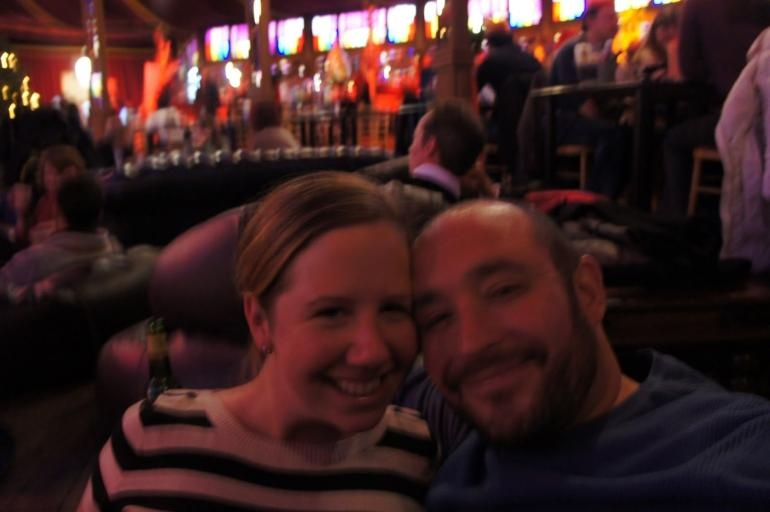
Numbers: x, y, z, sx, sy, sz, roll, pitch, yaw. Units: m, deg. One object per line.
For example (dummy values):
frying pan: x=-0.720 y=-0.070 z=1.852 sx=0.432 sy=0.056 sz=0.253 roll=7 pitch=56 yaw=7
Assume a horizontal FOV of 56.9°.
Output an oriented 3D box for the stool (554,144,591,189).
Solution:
stool: x=1.281 y=-0.609 z=4.918 sx=0.288 sy=0.363 sz=0.364 roll=-4 pitch=9 yaw=13

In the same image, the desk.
desk: x=1.454 y=-0.649 z=4.487 sx=0.784 sy=0.793 sz=0.783 roll=-4 pitch=8 yaw=-30

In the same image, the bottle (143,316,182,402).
bottle: x=-0.839 y=0.395 z=2.646 sx=0.107 sy=0.338 sz=0.546 roll=-4 pitch=9 yaw=-19
